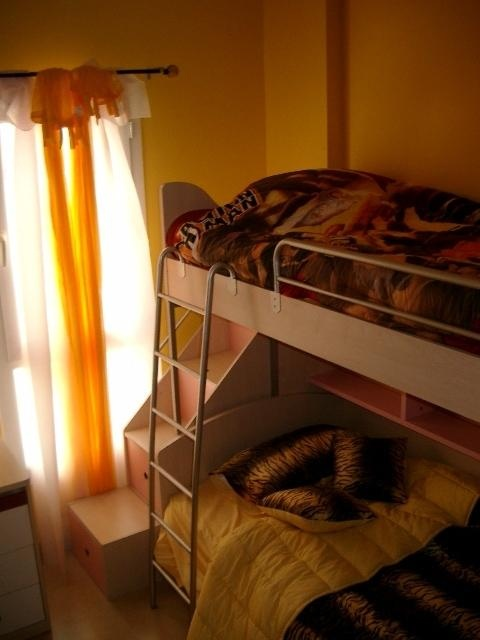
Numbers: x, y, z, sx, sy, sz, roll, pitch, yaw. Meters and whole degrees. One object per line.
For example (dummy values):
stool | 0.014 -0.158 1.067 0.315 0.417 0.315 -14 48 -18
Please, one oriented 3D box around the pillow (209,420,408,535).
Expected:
pillow | 0.329 0.614 2.230 0.398 0.114 0.388 -13 18 -43
